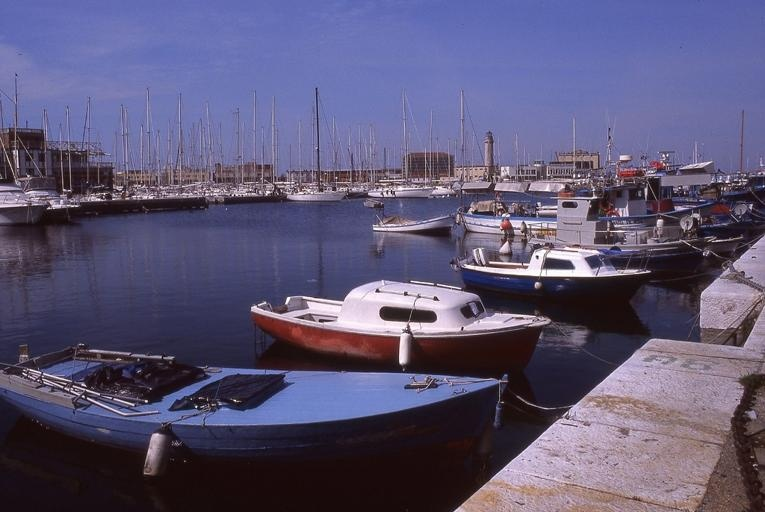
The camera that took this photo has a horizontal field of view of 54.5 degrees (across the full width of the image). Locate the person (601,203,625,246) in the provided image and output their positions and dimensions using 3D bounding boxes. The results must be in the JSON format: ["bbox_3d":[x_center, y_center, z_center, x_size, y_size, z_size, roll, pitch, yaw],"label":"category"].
[{"bbox_3d":[11.192,-1.664,36.396,0.903,0.796,3.445,0,40,10],"label":"person"}]

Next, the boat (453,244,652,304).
[{"bbox_3d":[6.128,0.761,29.270,6.845,1.793,2.839,3,9,37],"label":"boat"}]
